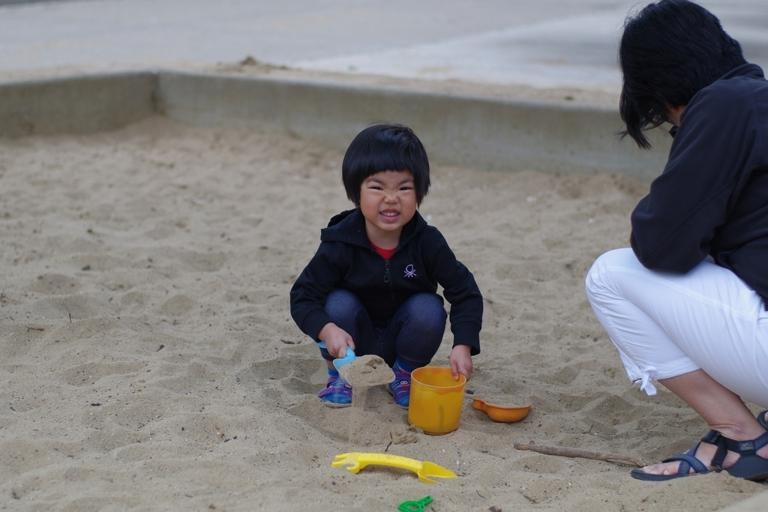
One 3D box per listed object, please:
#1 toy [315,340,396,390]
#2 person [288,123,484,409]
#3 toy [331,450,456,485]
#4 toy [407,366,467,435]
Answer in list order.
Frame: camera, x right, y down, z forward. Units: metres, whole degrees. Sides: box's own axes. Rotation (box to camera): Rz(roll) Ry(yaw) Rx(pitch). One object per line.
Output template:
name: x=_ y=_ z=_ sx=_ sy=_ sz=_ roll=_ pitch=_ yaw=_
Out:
toy: x=-0.115 y=0.616 z=5.618 sx=0.244 sy=0.156 sz=0.277 roll=-18 pitch=33 yaw=-36
person: x=0.019 y=0.069 z=5.766 sx=1.094 sy=1.479 sz=0.731 roll=4 pitch=28 yaw=2
toy: x=0.151 y=1.066 z=5.359 sx=0.820 sy=0.121 sz=0.200 roll=2 pitch=15 yaw=7
toy: x=0.262 y=0.777 z=5.706 sx=0.362 sy=0.295 sz=0.358 roll=-2 pitch=8 yaw=-23
